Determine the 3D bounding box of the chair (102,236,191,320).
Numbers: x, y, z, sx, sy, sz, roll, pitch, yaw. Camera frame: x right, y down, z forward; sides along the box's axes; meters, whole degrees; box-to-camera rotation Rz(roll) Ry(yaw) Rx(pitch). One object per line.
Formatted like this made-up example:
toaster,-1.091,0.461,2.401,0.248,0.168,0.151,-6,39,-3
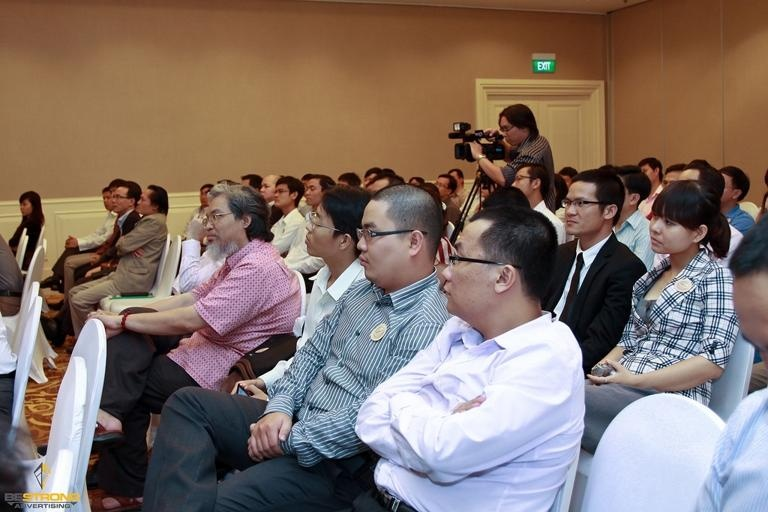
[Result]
chair,-2.211,-0.038,5.101,0.622,0.539,0.750,7,28,-35

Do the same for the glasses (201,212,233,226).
glasses,-0.878,-0.195,2.915,0.148,0.047,0.145,2,-12,-43

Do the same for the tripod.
tripod,0.858,-0.544,5.300,0.413,0.958,0.430,15,-25,19

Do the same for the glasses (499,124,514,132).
glasses,1.108,-1.154,4.921,0.076,0.025,0.074,8,-4,-26

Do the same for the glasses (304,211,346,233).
glasses,-0.264,-0.145,2.517,0.126,0.036,0.122,27,2,-22

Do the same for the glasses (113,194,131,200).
glasses,-2.898,-0.659,6.108,0.092,0.029,0.091,9,-6,-41

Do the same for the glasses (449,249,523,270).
glasses,0.279,0.009,1.679,0.262,0.047,0.089,6,9,44
